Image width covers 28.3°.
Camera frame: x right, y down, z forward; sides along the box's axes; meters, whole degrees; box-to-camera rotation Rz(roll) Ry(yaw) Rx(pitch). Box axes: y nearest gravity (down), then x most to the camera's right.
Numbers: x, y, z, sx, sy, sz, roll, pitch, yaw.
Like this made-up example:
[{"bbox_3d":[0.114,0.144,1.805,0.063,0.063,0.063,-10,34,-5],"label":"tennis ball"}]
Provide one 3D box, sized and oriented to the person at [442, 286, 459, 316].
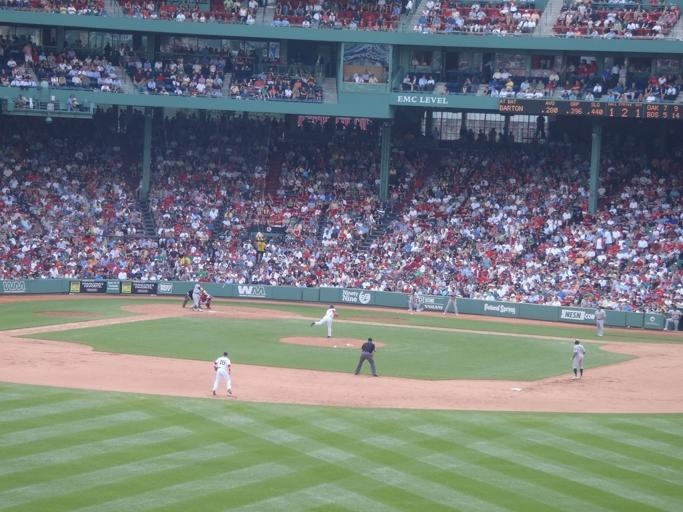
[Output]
[{"bbox_3d":[7.742,3.137,95.070,1.140,1.873,1.103,3,7,20],"label":"person"}]
